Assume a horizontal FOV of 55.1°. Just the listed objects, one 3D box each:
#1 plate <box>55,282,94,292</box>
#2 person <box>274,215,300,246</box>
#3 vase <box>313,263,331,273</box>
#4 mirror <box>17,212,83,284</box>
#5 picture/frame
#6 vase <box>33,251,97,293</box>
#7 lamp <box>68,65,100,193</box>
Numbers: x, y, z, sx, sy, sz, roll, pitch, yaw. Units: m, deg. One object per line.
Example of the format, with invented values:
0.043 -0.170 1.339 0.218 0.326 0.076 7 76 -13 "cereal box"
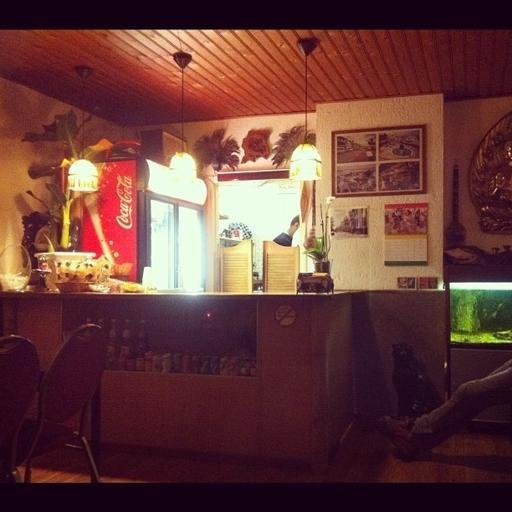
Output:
-1.242 0.214 3.315 0.135 0.047 0.103 0 -4 8 "plate"
0.365 -0.285 5.715 0.260 0.438 1.004 0 -4 6 "person"
0.497 0.098 3.641 0.085 0.104 0.089 -2 -3 33 "vase"
-2.059 -0.043 4.657 0.324 0.752 0.223 6 17 -34 "mirror"
1.160 -0.905 4.663 0.861 0.756 0.032 -1 -22 16 "picture/frame"
-1.353 0.094 3.444 0.381 0.284 0.407 0 -2 -10 "vase"
-1.651 -1.060 4.738 0.257 1.137 1.627 2 -4 -19 "lamp"
